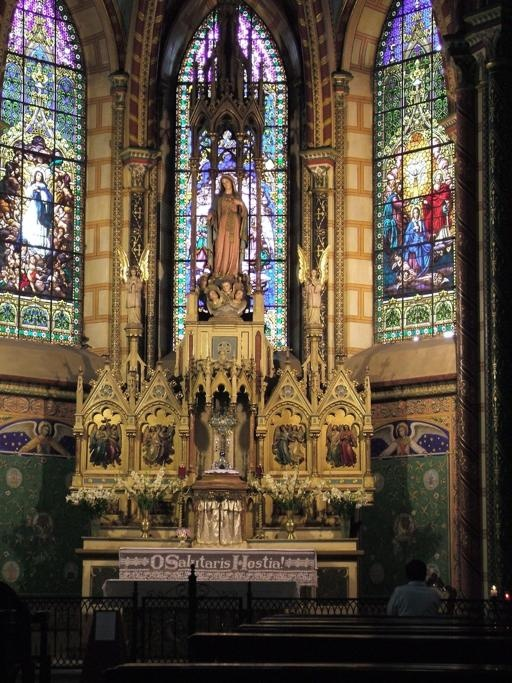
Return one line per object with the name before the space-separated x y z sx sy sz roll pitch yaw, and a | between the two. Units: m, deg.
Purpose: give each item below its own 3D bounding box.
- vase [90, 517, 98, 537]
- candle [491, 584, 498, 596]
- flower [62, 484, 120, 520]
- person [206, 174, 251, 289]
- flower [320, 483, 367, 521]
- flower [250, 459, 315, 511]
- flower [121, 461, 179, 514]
vase | -1.756 2.017 16.500 0.074 0.178 0.121 0 -5 -9
candle | 2.039 2.165 13.141 0.056 0.114 0.061 1 -14 1
flower | -1.794 1.756 16.527 0.404 0.324 0.451 -3 -11 7
person | -0.351 -1.330 17.853 0.454 1.270 0.298 -1 -4 1
flower | 0.943 1.717 16.481 0.344 0.310 0.413 0 0 -19
flower | 0.275 1.590 16.594 0.493 0.363 0.480 2 -13 19
flower | -1.155 1.614 16.722 0.517 0.503 0.525 0 -4 -10
